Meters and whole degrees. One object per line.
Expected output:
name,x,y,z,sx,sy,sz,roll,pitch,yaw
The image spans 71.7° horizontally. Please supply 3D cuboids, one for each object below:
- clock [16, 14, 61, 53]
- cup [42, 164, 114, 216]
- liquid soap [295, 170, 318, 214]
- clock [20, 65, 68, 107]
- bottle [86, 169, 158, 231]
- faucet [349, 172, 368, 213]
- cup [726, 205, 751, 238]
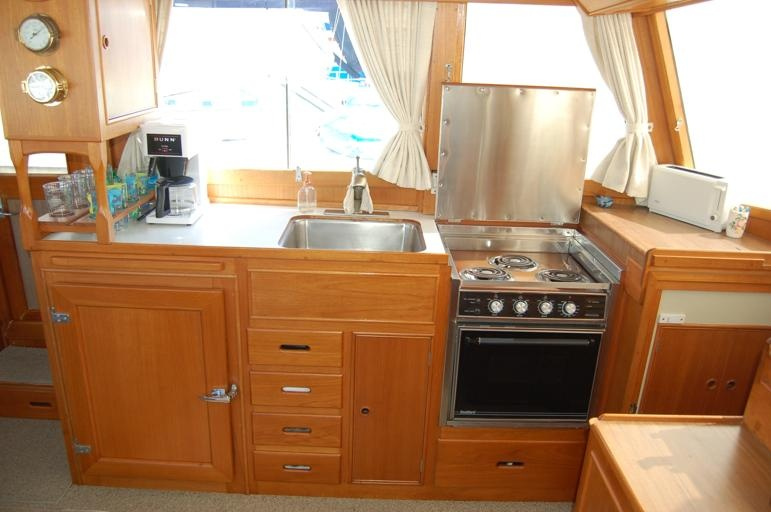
clock,-1.530,-0.983,2.344,0.205,0.150,0.042,4,4,-2
cup,-1.530,-0.355,2.796,0.244,0.219,0.376,2,25,-6
liquid soap,-0.463,-0.387,3.143,0.118,0.228,0.188,-2,19,-7
clock,-1.521,-0.759,2.398,0.181,0.145,0.161,21,11,9
bottle,-1.399,-0.304,2.867,0.103,0.337,0.261,1,0,22
faucet,-0.151,-0.357,3.012,0.081,0.242,0.064,-1,20,-4
cup,1.804,-0.179,2.746,0.077,0.159,0.119,9,20,21
